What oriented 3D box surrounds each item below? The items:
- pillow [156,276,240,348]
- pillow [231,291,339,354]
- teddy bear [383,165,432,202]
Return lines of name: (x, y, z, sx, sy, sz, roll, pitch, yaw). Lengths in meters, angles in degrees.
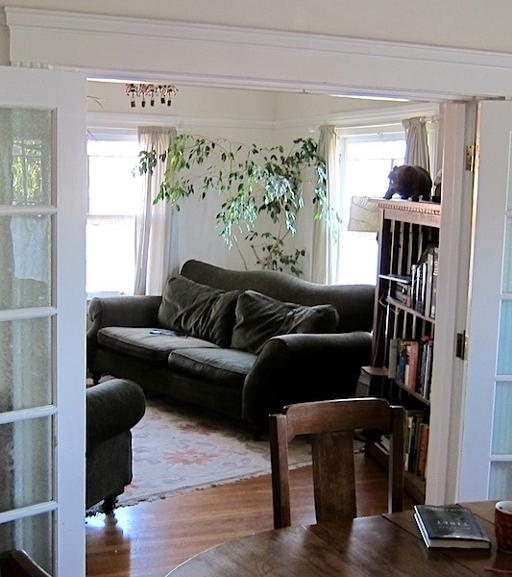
pillow: (-0.586, 0.243, 5.283, 0.934, 0.577, 0.320, 11, -13, 31)
pillow: (0.209, 0.295, 4.357, 0.248, 0.492, 0.752, 16, -9, -39)
teddy bear: (0.956, -0.648, 3.278, 0.337, 0.237, 0.168, -8, 16, -18)
